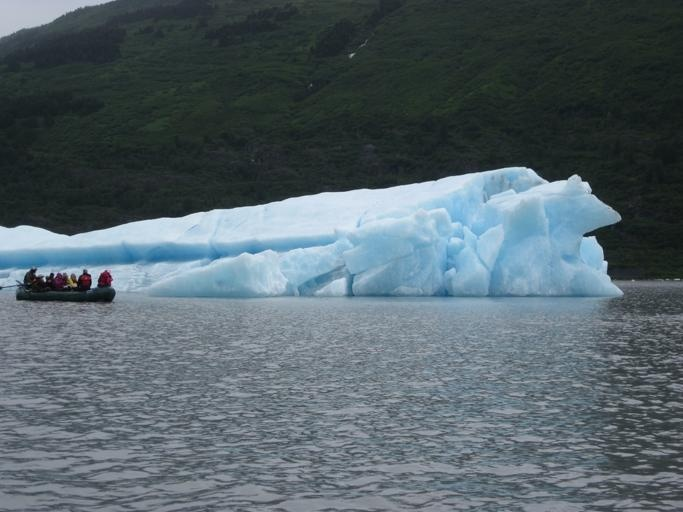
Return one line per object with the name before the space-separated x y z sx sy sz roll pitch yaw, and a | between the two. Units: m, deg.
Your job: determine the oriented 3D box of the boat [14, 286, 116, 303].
boat | -14.366 2.008 57.674 5.556 0.888 1.532 1 -2 12
